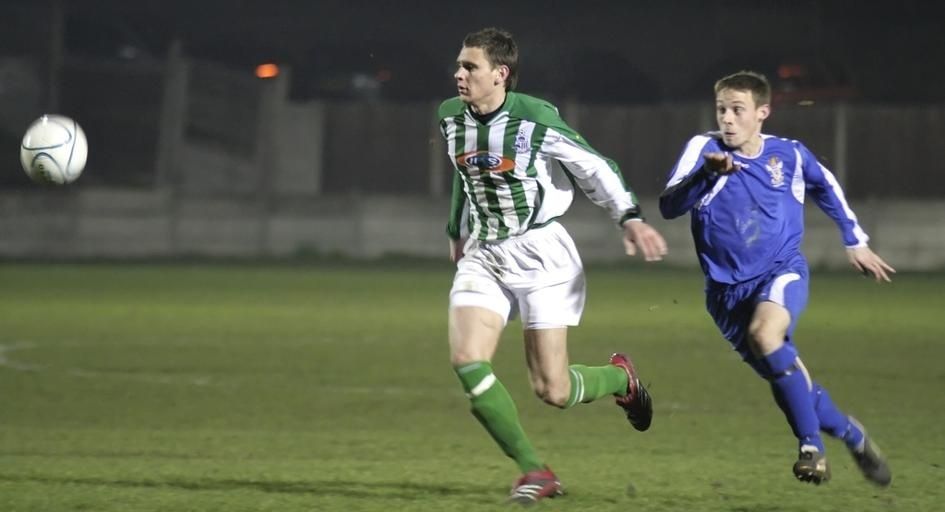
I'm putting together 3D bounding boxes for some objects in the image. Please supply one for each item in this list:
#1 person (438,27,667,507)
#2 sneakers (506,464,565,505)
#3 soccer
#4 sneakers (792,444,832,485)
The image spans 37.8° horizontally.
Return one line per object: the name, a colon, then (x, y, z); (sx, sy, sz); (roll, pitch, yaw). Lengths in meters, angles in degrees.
person: (0.585, 0.038, 12.034); (1.676, 3.978, 0.893); (0, 7, -1)
sneakers: (0.546, 1.970, 11.787); (0.199, 0.202, 0.520); (-27, -18, 37)
soccer: (-3.873, -1.001, 13.031); (0.646, 0.644, 0.712); (2, 9, 3)
sneakers: (2.944, 1.816, 11.971); (0.305, 0.354, 0.195); (1, 7, 11)
